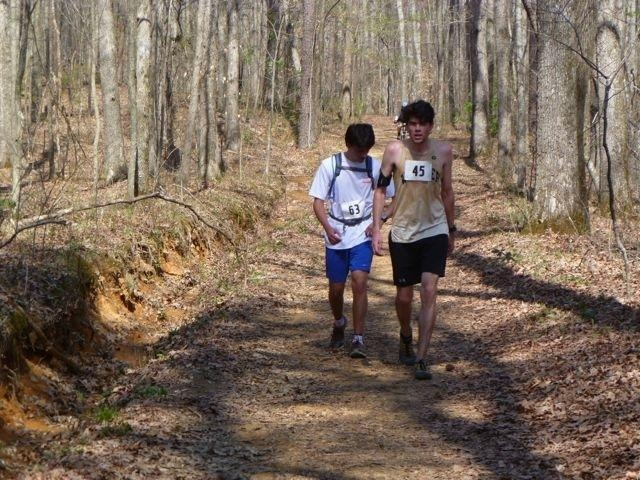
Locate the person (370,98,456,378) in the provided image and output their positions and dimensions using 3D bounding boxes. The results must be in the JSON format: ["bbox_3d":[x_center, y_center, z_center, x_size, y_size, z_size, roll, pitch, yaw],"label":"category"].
[{"bbox_3d":[1.219,0.014,10.123,1.013,3.513,0.699,0,14,10],"label":"person"}]

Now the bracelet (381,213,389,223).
[{"bbox_3d":[0.875,-0.297,10.369,0.086,0.102,0.163,14,-7,12],"label":"bracelet"}]
